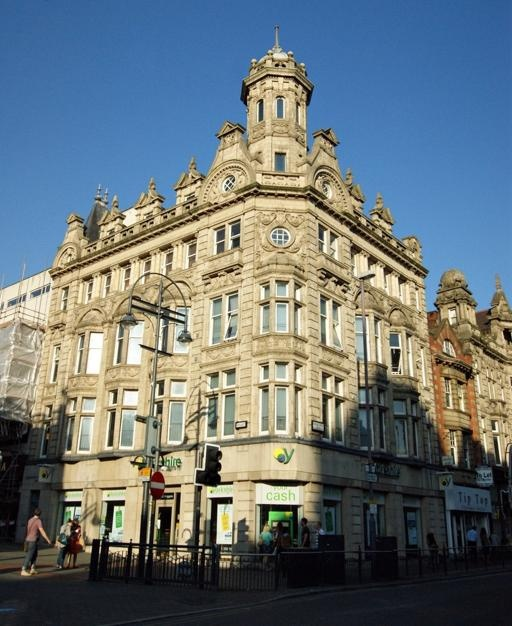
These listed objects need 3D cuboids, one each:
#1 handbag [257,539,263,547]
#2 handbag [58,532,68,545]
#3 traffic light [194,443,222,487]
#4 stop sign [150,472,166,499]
[{"bbox_3d":[0.158,8.462,20.919,0.211,0.297,0.082,3,-4,31],"label":"handbag"},{"bbox_3d":[-6.485,7.593,19.060,0.243,0.421,0.436,20,-22,-37],"label":"handbag"},{"bbox_3d":[-1.179,3.699,13.978,0.622,1.053,0.881,4,-23,-6],"label":"traffic light"},{"bbox_3d":[-2.690,4.591,15.324,0.331,0.720,0.714,2,-23,-2],"label":"stop sign"}]
